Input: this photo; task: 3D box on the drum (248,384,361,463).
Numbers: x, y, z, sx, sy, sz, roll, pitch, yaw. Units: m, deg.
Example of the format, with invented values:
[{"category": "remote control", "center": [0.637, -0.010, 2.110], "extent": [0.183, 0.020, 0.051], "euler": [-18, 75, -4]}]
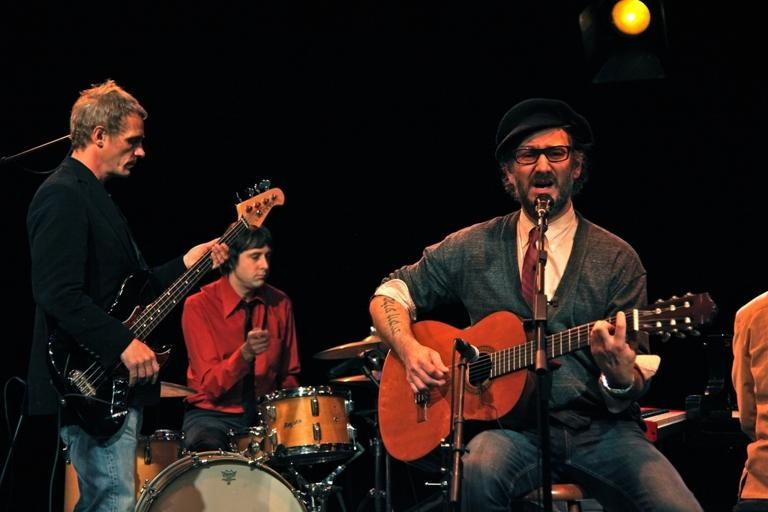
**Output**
[{"category": "drum", "center": [-0.591, 1.253, 6.360], "extent": [0.616, 0.413, 0.656], "euler": [-4, -21, -2]}]

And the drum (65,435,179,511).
[{"category": "drum", "center": [-2.028, 1.588, 6.475], "extent": [0.650, 0.756, 0.685], "euler": [0, -7, -7]}]

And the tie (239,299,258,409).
[{"category": "tie", "center": [-1.110, 0.843, 6.946], "extent": [0.177, 0.783, 0.184], "euler": [-5, 12, -35]}]

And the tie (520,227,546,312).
[{"category": "tie", "center": [0.932, 0.048, 5.336], "extent": [0.152, 0.464, 0.063], "euler": [4, 1, 30]}]

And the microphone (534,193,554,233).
[{"category": "microphone", "center": [0.981, -0.257, 5.076], "extent": [0.104, 0.305, 0.279], "euler": [-5, -17, 11]}]

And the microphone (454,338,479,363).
[{"category": "microphone", "center": [0.495, 0.547, 4.957], "extent": [0.103, 0.161, 0.060], "euler": [-26, 7, -32]}]
